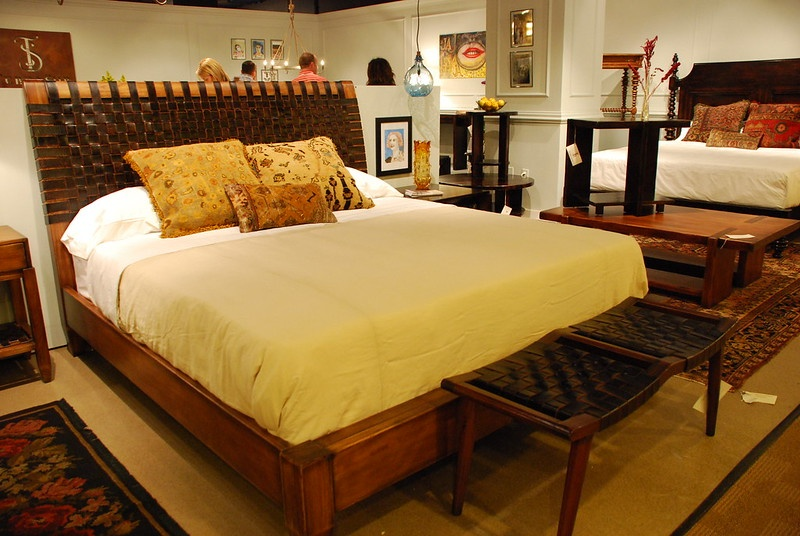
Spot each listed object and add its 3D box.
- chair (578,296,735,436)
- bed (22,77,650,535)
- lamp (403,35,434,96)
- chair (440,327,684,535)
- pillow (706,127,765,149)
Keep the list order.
[{"bbox_3d":[1.223,0.526,2.531,0.685,0.513,0.564,-9,20,-37],"label":"chair"},{"bbox_3d":[-0.675,0.044,3.384,2.832,2.106,3.107,-15,24,-39],"label":"bed"},{"bbox_3d":[0.186,-1.860,4.827,0.298,0.405,0.296,-4,36,-3],"label":"lamp"},{"bbox_3d":[0.648,0.629,2.194,0.679,0.614,1.205,17,27,39],"label":"chair"},{"bbox_3d":[4.082,-1.602,6.228,0.462,0.291,0.112,16,-10,32],"label":"pillow"}]
